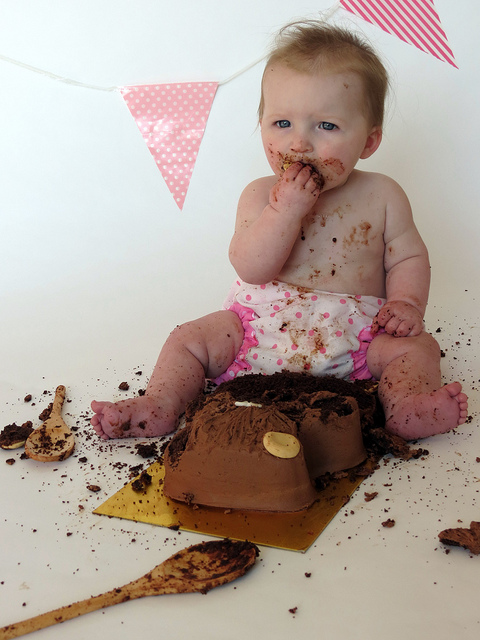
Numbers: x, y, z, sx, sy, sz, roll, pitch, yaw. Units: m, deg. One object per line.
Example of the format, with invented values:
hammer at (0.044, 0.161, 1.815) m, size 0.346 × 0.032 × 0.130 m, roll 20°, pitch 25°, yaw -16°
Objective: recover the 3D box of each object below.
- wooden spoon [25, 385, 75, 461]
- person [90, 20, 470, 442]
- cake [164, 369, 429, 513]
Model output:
wooden spoon at (-0.549, 0.301, 2.088) m, size 0.128 × 0.046 × 0.346 m, roll 1°, pitch 30°, yaw -5°
person at (0.234, -0.264, 2.063) m, size 1.194 × 1.089 × 0.971 m, roll 0°, pitch 17°, yaw 12°
cake at (0.101, 0.270, 1.853) m, size 0.485 × 0.160 × 0.640 m, roll 11°, pitch 20°, yaw 29°
